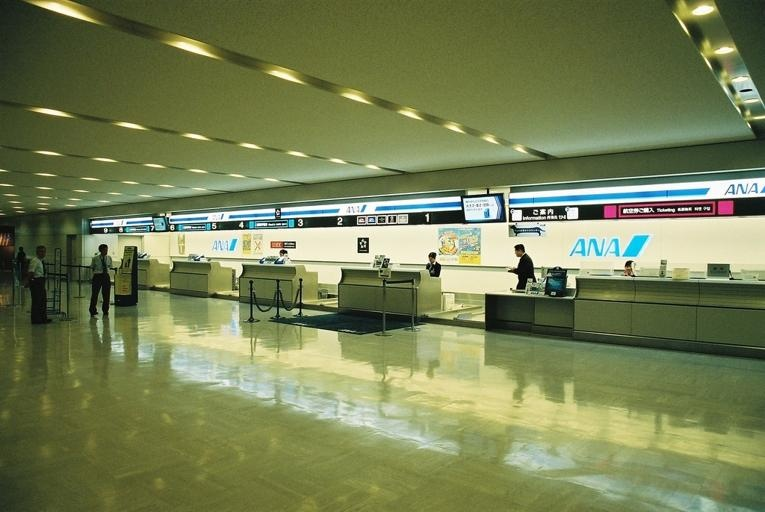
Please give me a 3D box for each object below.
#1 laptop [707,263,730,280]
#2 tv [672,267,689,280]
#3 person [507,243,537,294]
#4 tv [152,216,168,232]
[{"bbox_3d":[6.215,0.300,9.914,0.280,0.305,0.484,5,-7,-31],"label":"laptop"},{"bbox_3d":[5.539,0.354,9.928,0.209,0.222,0.350,7,-8,-38],"label":"tv"},{"bbox_3d":[3.216,0.230,12.316,0.585,1.002,1.885,2,9,15],"label":"person"},{"bbox_3d":[-8.830,-1.264,21.026,0.667,0.577,0.216,3,13,27],"label":"tv"}]
